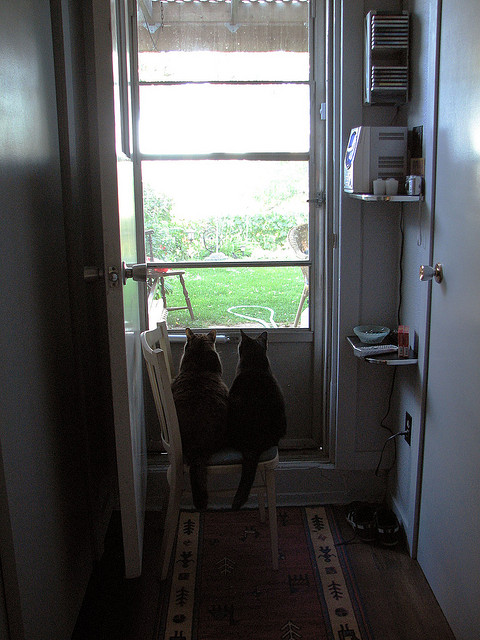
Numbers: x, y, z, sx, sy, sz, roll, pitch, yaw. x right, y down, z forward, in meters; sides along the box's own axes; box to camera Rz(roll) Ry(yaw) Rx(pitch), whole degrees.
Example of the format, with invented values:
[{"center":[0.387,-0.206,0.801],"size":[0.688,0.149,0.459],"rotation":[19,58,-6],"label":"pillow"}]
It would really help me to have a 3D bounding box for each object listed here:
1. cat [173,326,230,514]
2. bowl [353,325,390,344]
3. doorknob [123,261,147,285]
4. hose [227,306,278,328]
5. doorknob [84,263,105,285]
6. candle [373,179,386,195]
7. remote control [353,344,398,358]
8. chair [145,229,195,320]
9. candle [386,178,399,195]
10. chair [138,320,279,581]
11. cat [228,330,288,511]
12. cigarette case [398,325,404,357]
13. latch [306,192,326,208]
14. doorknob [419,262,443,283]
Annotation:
[{"center":[-0.140,0.356,1.692],"size":[0.163,0.354,0.715],"rotation":[0,29,-5],"label":"cat"},{"center":[0.533,0.060,2.054],"size":[0.138,0.056,0.179],"rotation":[0,7,10],"label":"bowl"},{"center":[-0.275,-0.131,1.342],"size":[0.048,0.095,0.052],"rotation":[-3,6,-19],"label":"doorknob"},{"center":[0.062,0.007,2.354],"size":[0.180,0.137,0.010],"rotation":[13,26,-14],"label":"hose"},{"center":[-0.389,-0.119,1.338],"size":[0.049,0.036,0.193],"rotation":[-3,8,-17],"label":"doorknob"},{"center":[0.487,-0.465,1.768],"size":[0.034,0.069,0.043],"rotation":[3,13,13],"label":"candle"},{"center":[0.504,0.114,1.878],"size":[0.101,0.037,0.071],"rotation":[-7,4,-14],"label":"remote control"},{"center":[-0.328,-0.203,2.383],"size":[0.140,0.503,0.174],"rotation":[-5,-1,-29],"label":"chair"},{"center":[0.527,-0.458,1.758],"size":[0.033,0.070,0.044],"rotation":[1,8,2],"label":"candle"},{"center":[-0.045,0.273,2.114],"size":[0.539,1.435,0.656],"rotation":[-3,16,-3],"label":"chair"},{"center":[0.067,0.296,1.799],"size":[0.149,0.674,0.284],"rotation":[-3,-27,9],"label":"cat"},{"center":[0.578,0.080,1.815],"size":[0.020,0.101,0.049],"rotation":[1,6,19],"label":"cigarette case"},{"center":[0.351,-0.536,2.267],"size":[0.057,0.053,0.053],"rotation":[-2,11,-4],"label":"latch"},{"center":[0.585,-0.142,1.554],"size":[0.046,0.093,0.049],"rotation":[1,4,1],"label":"doorknob"}]
